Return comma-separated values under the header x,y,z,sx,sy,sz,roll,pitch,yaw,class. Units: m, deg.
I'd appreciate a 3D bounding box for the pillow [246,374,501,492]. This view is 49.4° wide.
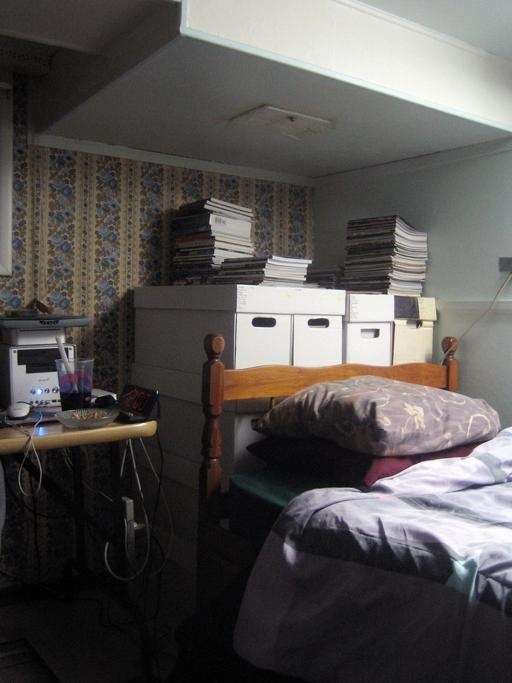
x,y,z,sx,sy,sz,roll,pitch,yaw,class
0.383,0.262,1.762,0.618,0.269,0.526,-5,7,-35,pillow
